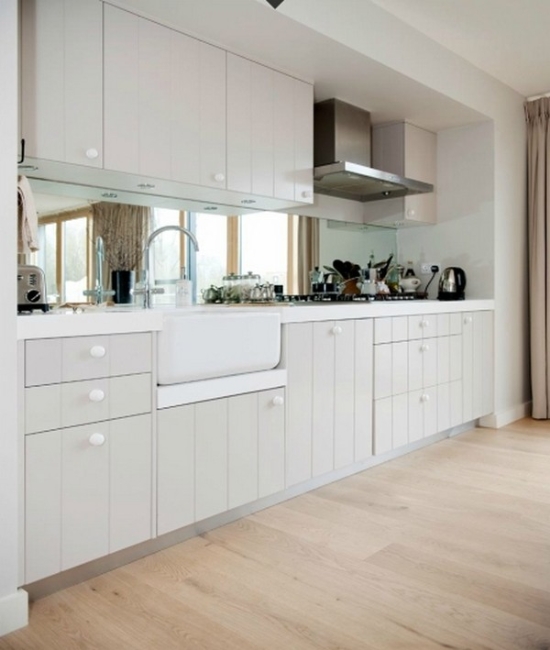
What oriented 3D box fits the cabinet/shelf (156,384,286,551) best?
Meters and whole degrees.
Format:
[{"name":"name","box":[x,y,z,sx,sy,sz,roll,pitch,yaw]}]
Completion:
[{"name":"cabinet/shelf","box":[-0.253,0.413,2.128,0.380,0.470,0.642,-2,0,40]}]

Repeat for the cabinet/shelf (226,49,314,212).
[{"name":"cabinet/shelf","box":[-0.027,-0.980,2.723,0.206,0.609,0.642,-3,-4,39]}]

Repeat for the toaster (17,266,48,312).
[{"name":"toaster","box":[-0.778,-0.100,1.748,0.112,0.148,0.085,-3,-12,-41]}]

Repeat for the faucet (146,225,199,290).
[{"name":"faucet","box":[-0.513,-0.367,2.735,0.247,0.307,0.514,0,2,-11]}]

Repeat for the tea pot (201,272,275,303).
[{"name":"tea pot","box":[-0.179,-0.171,3.031,0.198,0.102,0.292,-2,0,-39]}]

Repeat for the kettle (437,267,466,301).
[{"name":"kettle","box":[1.261,-0.291,4.051,0.219,0.254,0.189,3,-3,-27]}]

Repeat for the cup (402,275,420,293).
[{"name":"cup","box":[0.999,-0.295,4.131,0.116,0.101,0.116,-1,-4,0]}]

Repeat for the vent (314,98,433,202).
[{"name":"vent","box":[0.527,-1.107,3.456,0.847,0.552,0.455,-3,2,-41]}]
